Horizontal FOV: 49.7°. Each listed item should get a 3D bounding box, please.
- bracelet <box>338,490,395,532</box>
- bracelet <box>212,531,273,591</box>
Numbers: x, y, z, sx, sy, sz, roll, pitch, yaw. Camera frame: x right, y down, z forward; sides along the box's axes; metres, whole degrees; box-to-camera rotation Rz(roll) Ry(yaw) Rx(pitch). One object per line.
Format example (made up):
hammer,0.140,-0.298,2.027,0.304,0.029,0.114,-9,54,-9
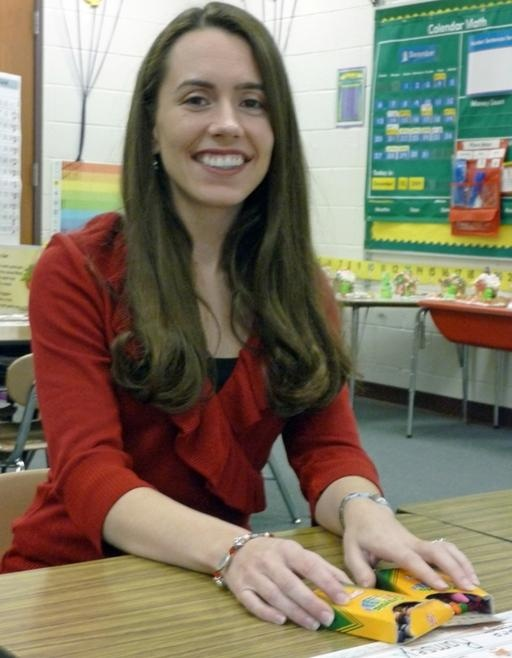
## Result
bracelet,0.143,0.252,0.784,0.054,0.049,0.014,1,7,-11
bracelet,-0.018,0.244,0.584,0.014,0.048,0.051,44,26,3
